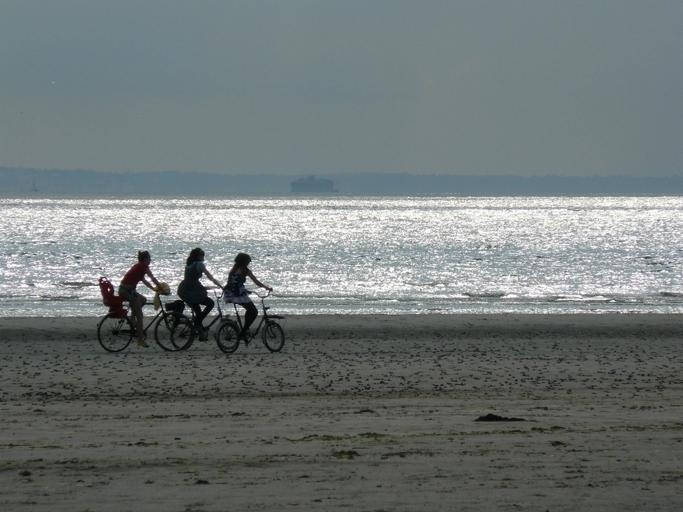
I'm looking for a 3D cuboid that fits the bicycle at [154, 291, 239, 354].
[{"bbox_3d":[-3.128,1.540,30.691,1.300,1.399,2.697,-6,-10,38],"label":"bicycle"}]

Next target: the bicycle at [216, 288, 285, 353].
[{"bbox_3d":[-2.050,1.524,30.136,2.003,1.310,1.089,3,-10,-42],"label":"bicycle"}]

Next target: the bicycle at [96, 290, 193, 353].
[{"bbox_3d":[-4.448,1.535,30.269,2.591,1.289,1.107,3,-6,-41],"label":"bicycle"}]
